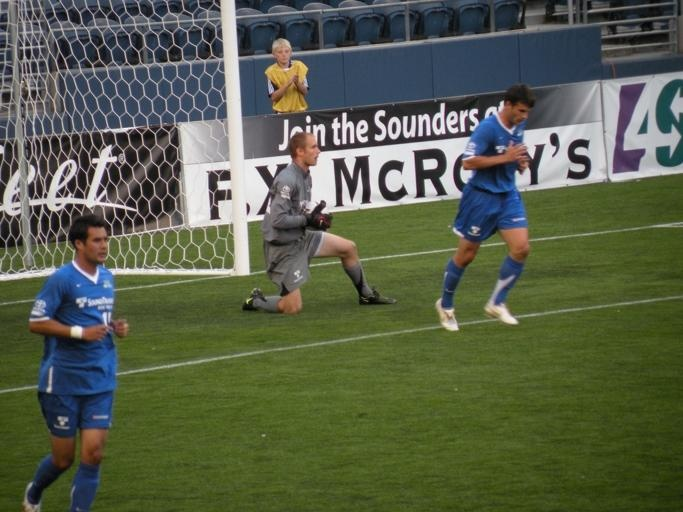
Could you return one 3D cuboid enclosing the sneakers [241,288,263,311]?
[{"bbox_3d":[-0.903,0.495,13.101,0.243,0.111,0.177,-44,39,3],"label":"sneakers"}]

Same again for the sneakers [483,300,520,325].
[{"bbox_3d":[1.480,0.543,11.908,0.359,0.162,0.145,28,22,17],"label":"sneakers"}]

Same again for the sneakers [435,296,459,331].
[{"bbox_3d":[0.992,0.559,12.123,0.170,0.344,0.137,-26,5,-30],"label":"sneakers"}]

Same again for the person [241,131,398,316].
[{"bbox_3d":[-0.395,-0.319,12.828,1.310,1.823,0.494,-3,14,-6],"label":"person"}]

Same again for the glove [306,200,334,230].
[{"bbox_3d":[-0.195,-0.383,12.799,0.214,0.264,0.294,-9,20,-26],"label":"glove"}]

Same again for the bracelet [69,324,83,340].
[{"bbox_3d":[-1.937,0.558,9.216,0.090,0.067,0.088,9,13,25],"label":"bracelet"}]

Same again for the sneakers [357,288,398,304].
[{"bbox_3d":[0.362,0.420,13.109,0.395,0.168,0.150,-1,7,-1],"label":"sneakers"}]

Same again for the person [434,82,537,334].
[{"bbox_3d":[1.354,-0.440,11.897,0.888,2.331,0.669,1,15,12],"label":"person"}]

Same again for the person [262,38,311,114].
[{"bbox_3d":[-0.751,-2.453,17.323,0.540,1.059,0.830,-2,15,-3],"label":"person"}]
